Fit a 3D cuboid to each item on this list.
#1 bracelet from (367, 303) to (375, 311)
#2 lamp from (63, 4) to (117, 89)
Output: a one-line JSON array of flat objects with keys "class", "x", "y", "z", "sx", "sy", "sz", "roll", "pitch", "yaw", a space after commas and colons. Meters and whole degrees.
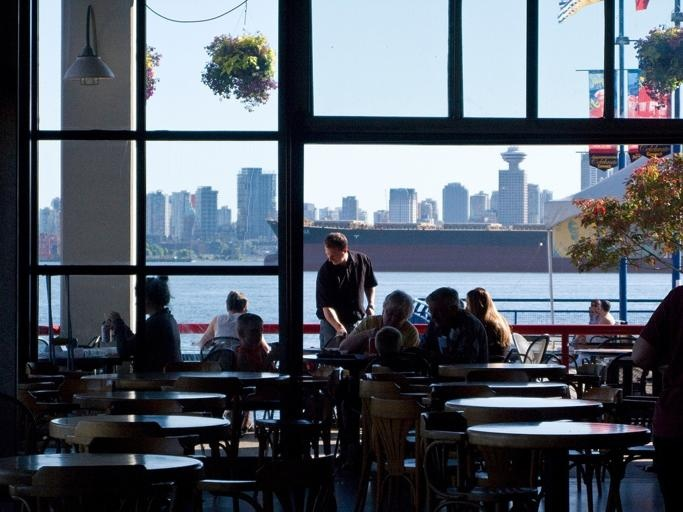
[{"class": "bracelet", "x": 0.267, "y": 0.418, "z": 14.900, "sx": 0.046, "sy": 0.052, "sz": 0.047, "roll": 0, "pitch": 2, "yaw": -12}, {"class": "lamp", "x": -2.053, "y": -1.745, "z": 14.026, "sx": 0.407, "sy": 0.669, "sz": 0.145, "roll": -1, "pitch": -3, "yaw": -12}]
